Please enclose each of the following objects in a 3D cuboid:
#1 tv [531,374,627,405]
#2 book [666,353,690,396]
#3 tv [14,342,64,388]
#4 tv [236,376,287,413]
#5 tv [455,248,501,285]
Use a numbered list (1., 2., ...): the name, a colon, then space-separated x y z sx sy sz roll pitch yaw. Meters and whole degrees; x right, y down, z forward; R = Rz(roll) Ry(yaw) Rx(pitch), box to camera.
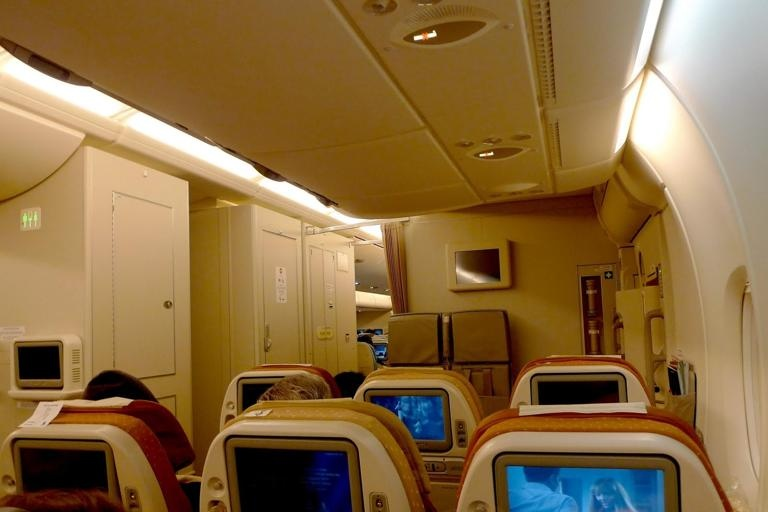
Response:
1. tv: 1.394 0.935 3.758 0.411 0.102 0.391 -1 -7 13
2. book: 2.611 1.061 4.740 0.162 0.460 0.446 -3 -19 19
3. tv: -3.201 1.015 4.949 0.407 0.377 0.216 -2 -5 19
4. tv: -1.015 1.054 4.343 0.427 0.302 0.314 1 -4 -18
5. tv: 1.456 0.170 8.471 0.611 0.593 0.147 3 -4 20
